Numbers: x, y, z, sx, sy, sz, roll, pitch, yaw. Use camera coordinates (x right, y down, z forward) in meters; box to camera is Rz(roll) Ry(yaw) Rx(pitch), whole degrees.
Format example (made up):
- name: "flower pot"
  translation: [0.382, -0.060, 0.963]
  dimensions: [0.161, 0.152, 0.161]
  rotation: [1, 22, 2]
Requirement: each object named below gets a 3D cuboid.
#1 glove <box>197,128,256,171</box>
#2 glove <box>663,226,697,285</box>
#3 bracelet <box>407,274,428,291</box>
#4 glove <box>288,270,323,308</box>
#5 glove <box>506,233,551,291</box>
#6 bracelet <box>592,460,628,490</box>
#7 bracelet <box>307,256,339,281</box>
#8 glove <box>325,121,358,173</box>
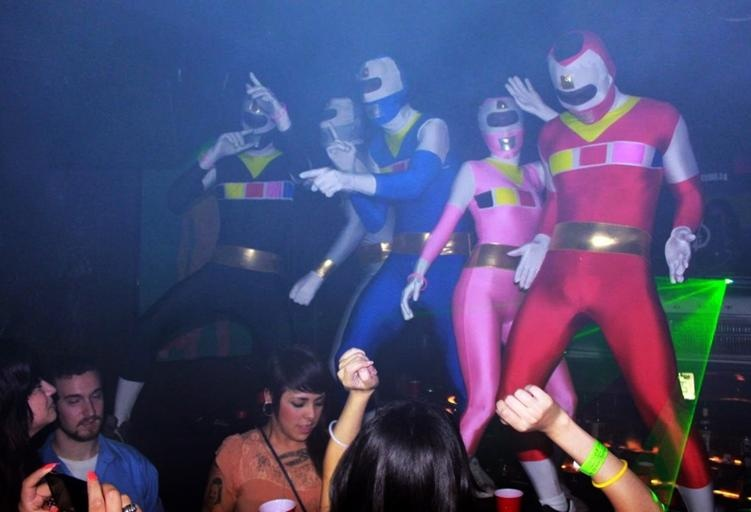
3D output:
- name: "glove"
  translation: [-0.844, -0.612, 3.284]
  dimensions: [0.317, 0.177, 0.091]
  rotation: [-24, 2, -9]
- name: "glove"
  translation: [1.334, -0.001, 2.475]
  dimensions: [0.140, 0.249, 0.055]
  rotation: [1, -4, -8]
- name: "bracelet"
  translation: [0.209, 0.142, 2.812]
  dimensions: [0.076, 0.078, 0.074]
  rotation: [18, -23, -37]
- name: "glove"
  translation: [-0.358, 0.173, 3.019]
  dimensions: [0.123, 0.203, 0.062]
  rotation: [40, -1, 12]
- name: "glove"
  translation: [0.719, 0.020, 2.657]
  dimensions: [0.158, 0.261, 0.061]
  rotation: [28, -2, 28]
- name: "bracelet"
  translation: [0.668, 0.644, 1.648]
  dimensions: [0.021, 0.085, 0.083]
  rotation: [41, 45, 14]
- name: "bracelet"
  translation: [-0.271, 0.070, 2.996]
  dimensions: [0.086, 0.145, 0.063]
  rotation: [47, 4, 34]
- name: "glove"
  translation: [-0.166, -0.576, 3.031]
  dimensions: [0.221, 0.239, 0.074]
  rotation: [31, 21, 20]
